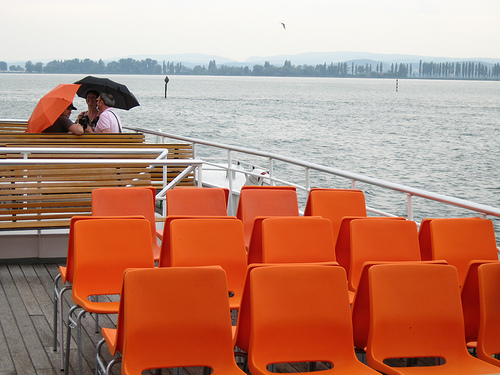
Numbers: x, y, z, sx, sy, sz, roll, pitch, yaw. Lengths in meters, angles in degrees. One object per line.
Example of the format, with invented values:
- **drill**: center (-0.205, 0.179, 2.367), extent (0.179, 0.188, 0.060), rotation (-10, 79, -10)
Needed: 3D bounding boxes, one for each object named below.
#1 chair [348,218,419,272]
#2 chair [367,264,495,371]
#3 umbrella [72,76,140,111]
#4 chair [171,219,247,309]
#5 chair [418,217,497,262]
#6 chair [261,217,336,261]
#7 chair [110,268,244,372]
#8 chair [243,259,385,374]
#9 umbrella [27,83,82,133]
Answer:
- **chair**: center (0.944, 0.438, 4.089), extent (0.459, 0.446, 0.397), rotation (-3, -3, 0)
- **chair**: center (0.974, 0.712, 3.442), extent (0.638, 0.517, 0.602), rotation (1, -3, -15)
- **umbrella**: center (-2.337, -1.512, 9.774), extent (0.877, 0.552, 1.338), rotation (-2, 9, 0)
- **chair**: center (-0.270, 0.457, 4.135), extent (0.589, 0.536, 0.517), rotation (2, 0, -18)
- **chair**: center (1.499, 0.411, 4.466), extent (0.329, 0.477, 0.428), rotation (0, -8, -7)
- **chair**: center (0.318, 0.346, 4.104), extent (0.363, 0.398, 0.321), rotation (0, -5, -15)
- **chair**: center (-0.393, 0.724, 3.281), extent (0.727, 0.572, 0.553), rotation (3, -6, -13)
- **chair**: center (0.270, 0.650, 3.390), extent (0.658, 0.531, 0.671), rotation (1, -4, -12)
- **umbrella**: center (-2.675, -1.072, 8.190), extent (0.702, 0.619, 0.777), rotation (7, 12, 44)
